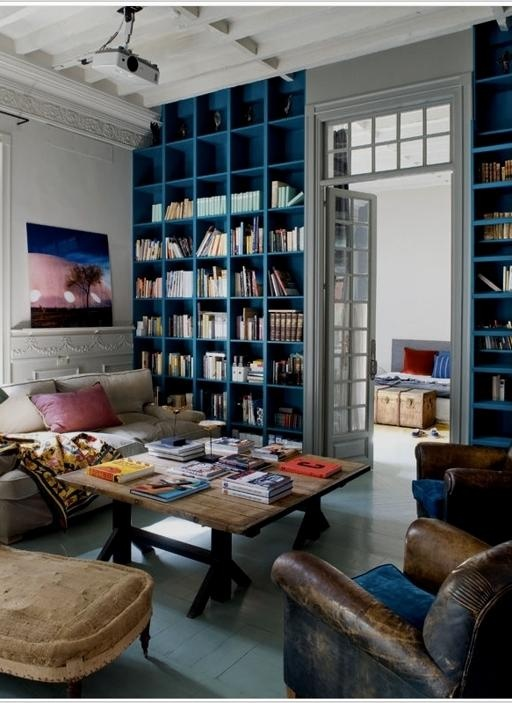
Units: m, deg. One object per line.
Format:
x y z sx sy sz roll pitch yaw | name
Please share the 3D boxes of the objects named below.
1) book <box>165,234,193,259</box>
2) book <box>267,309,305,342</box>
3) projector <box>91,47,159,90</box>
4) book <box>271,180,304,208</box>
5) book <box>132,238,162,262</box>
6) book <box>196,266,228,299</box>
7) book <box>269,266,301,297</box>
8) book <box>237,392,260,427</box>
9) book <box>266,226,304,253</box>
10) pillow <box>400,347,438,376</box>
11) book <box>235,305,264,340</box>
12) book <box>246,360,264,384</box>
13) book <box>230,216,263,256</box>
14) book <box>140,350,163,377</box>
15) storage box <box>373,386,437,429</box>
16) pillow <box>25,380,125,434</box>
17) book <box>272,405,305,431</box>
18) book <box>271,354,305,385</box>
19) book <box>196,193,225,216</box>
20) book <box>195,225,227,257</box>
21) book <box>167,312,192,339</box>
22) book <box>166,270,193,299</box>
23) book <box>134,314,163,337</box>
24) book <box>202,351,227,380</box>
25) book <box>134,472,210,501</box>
-0.786 -1.053 5.557 0.207 0.265 0.080 6 9 20 | book
0.252 -0.226 4.867 0.274 0.343 0.372 2 -2 -44 | book
-0.835 -1.848 3.470 0.258 0.241 0.393 2 3 23 | projector
0.269 -1.376 4.806 0.276 0.262 0.303 0 3 1 | book
-1.160 -1.063 5.779 0.271 0.233 0.113 7 10 34 | book
-0.402 -0.623 5.372 0.303 0.388 0.401 1 4 19 | book
0.246 -0.619 4.922 0.286 0.274 0.372 0 3 4 | book
-0.050 0.561 5.160 0.278 0.375 0.273 -1 1 -1 | book
0.265 -0.976 4.818 0.132 0.225 0.382 -3 4 -42 | book
2.335 0.157 7.796 0.365 0.278 0.138 11 14 19 | pillow
-0.033 -0.245 5.225 0.276 0.350 0.370 -1 2 10 | book
-0.007 0.200 5.094 0.048 0.190 0.190 10 -9 -11 | book
-0.085 -1.054 5.043 0.255 0.342 0.407 -1 3 -15 | book
-1.103 0.117 5.843 0.254 0.346 0.238 1 0 32 | book
1.832 0.709 6.794 0.637 0.444 0.431 3 4 40 | storage box
-1.369 0.452 4.142 0.292 0.253 0.637 16 12 26 | pillow
0.295 0.613 5.035 0.181 0.222 0.238 -1 -1 11 | book
0.275 0.165 4.922 0.272 0.341 0.272 -1 -1 40 | book
-0.444 -1.401 5.248 0.274 0.252 0.151 6 11 30 | book
-0.426 -1.047 5.298 0.245 0.092 0.313 -21 3 -38 | book
-0.768 -0.241 5.685 0.332 0.301 0.225 -2 -3 24 | book
-0.773 -0.669 5.543 0.325 0.296 0.116 3 3 33 | book
-1.142 -0.258 5.852 0.303 0.275 0.218 -1 -1 -5 | book
-0.379 0.169 5.486 0.245 0.307 0.327 -1 -2 17 | book
-0.417 0.657 2.652 0.324 0.037 0.391 2 4 29 | book
